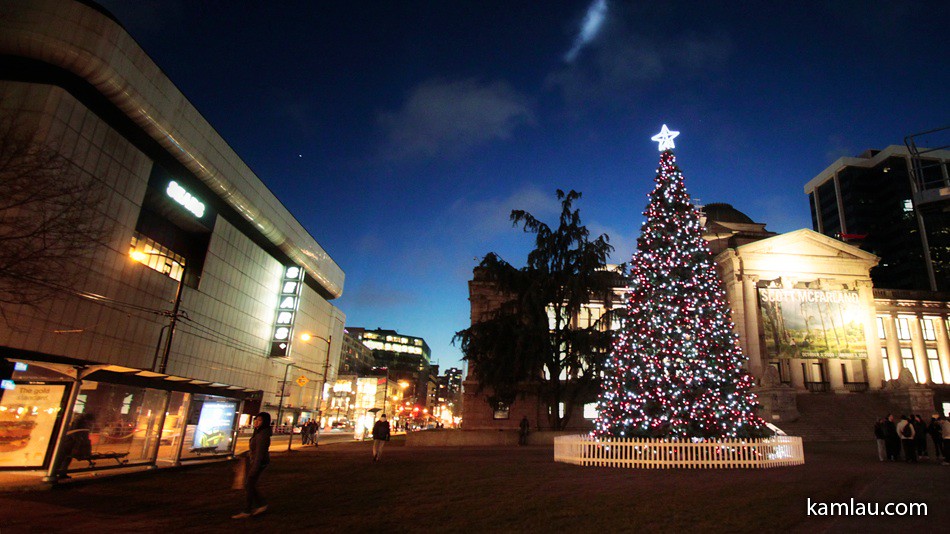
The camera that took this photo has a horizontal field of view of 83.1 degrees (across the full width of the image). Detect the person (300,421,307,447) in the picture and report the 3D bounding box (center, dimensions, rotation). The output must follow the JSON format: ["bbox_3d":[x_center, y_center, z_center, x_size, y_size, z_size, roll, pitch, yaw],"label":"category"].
[{"bbox_3d":[-14.755,14.602,46.456,0.370,1.549,1.274,1,-9,-13],"label":"person"}]
